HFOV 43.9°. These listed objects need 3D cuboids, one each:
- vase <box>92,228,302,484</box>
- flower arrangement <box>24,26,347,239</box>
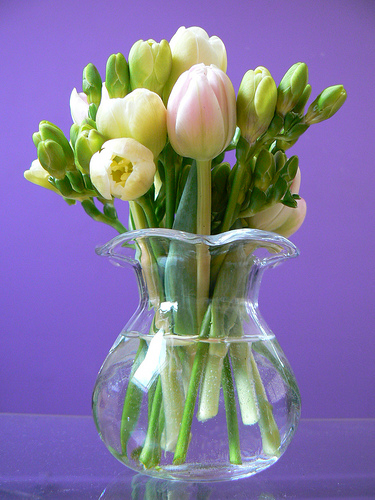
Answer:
[{"bbox_3d":[0.012,0.068,0.323,0.123,0.129,0.154,-2,-98,28],"label":"vase"},{"bbox_3d":[0.011,-0.066,0.334,0.157,0.155,0.181,12,-60,22],"label":"flower arrangement"}]
